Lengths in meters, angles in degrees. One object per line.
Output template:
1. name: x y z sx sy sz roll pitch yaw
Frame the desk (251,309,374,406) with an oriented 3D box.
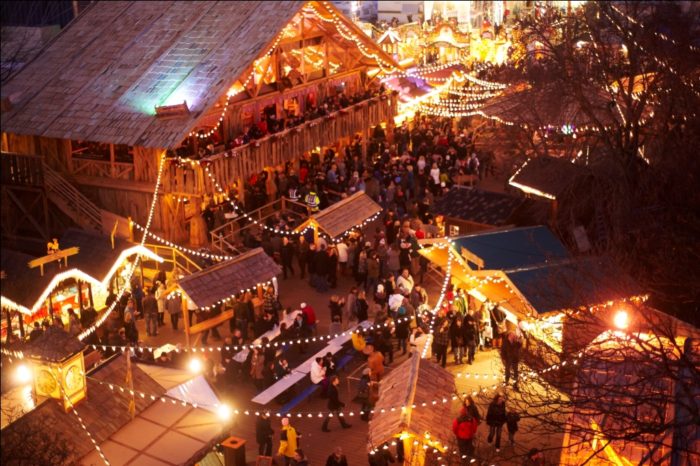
1. desk: -1.338 4.288 22.235 0.953 0.900 4.887 11 30 40

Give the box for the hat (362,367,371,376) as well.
1. hat: 0.501 4.201 20.506 0.206 0.117 0.307 14 -16 -3
